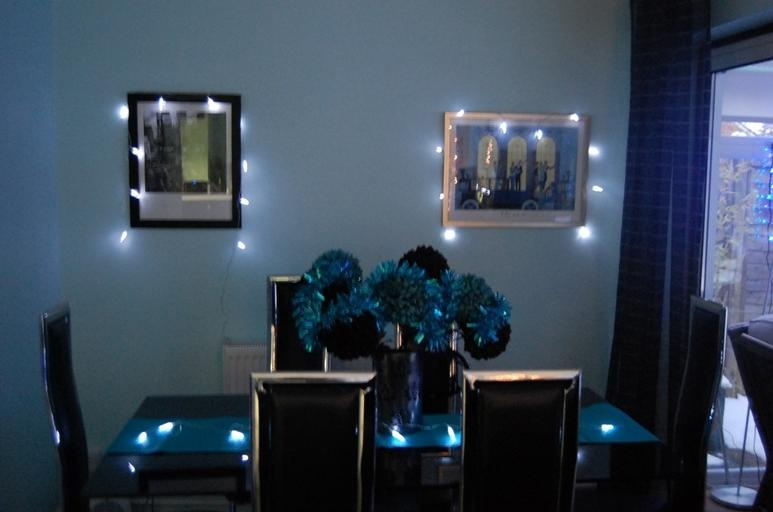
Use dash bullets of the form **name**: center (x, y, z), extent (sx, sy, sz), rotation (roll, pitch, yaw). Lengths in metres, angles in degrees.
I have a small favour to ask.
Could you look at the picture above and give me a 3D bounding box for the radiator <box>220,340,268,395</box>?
- **radiator**: center (-0.879, 0.684, 4.303), extent (0.348, 0.378, 0.025), rotation (1, 1, -4)
